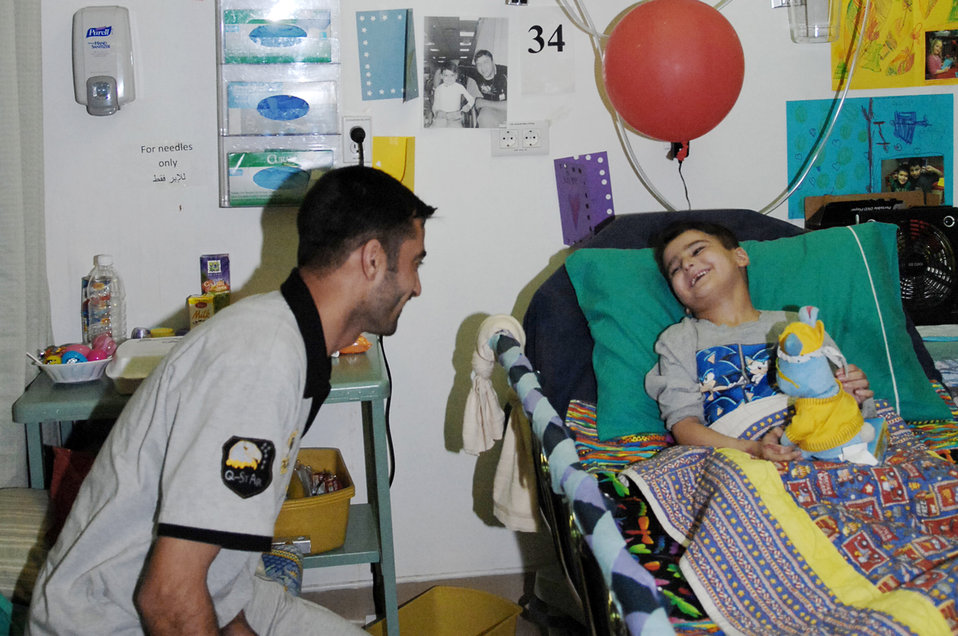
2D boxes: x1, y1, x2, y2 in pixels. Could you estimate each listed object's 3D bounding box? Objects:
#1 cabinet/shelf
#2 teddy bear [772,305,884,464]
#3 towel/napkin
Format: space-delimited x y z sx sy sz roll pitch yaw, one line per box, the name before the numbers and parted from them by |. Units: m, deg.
cabinet/shelf | -0.846 0.402 2.603 1.134 1.144 0.893 -1 5 -4
teddy bear | 0.882 0.167 1.896 0.269 0.350 0.233 -2 10 30
towel/napkin | 0.081 0.315 2.284 0.280 0.648 0.180 4 10 1
